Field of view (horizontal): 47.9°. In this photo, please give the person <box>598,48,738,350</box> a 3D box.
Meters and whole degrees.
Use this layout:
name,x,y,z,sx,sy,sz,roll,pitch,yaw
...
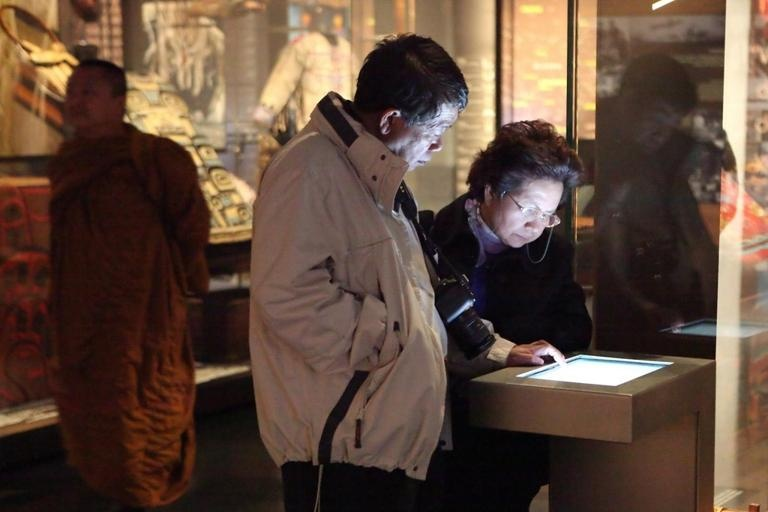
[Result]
name,x,y,z,sx,sy,sz,roll,pitch,yaw
person,1.312,-0.248,4.130,0.623,1.397,0.203,5,9,20

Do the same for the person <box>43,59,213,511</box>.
name,x,y,z,sx,sy,sz,roll,pitch,yaw
person,-1.075,0.134,3.706,0.669,1.904,0.323,-3,10,-30

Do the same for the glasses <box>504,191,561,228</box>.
name,x,y,z,sx,sy,sz,roll,pitch,yaw
glasses,0.625,-0.180,3.612,0.163,0.050,0.159,43,17,32

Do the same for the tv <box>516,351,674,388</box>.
name,x,y,z,sx,sy,sz,roll,pitch,yaw
tv,0.833,0.419,3.397,0.286,0.015,0.453,-12,-3,-32

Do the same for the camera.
name,x,y,z,sx,sy,sz,roll,pitch,yaw
camera,0.278,0.235,3.330,0.258,0.274,0.158,-39,13,-28
